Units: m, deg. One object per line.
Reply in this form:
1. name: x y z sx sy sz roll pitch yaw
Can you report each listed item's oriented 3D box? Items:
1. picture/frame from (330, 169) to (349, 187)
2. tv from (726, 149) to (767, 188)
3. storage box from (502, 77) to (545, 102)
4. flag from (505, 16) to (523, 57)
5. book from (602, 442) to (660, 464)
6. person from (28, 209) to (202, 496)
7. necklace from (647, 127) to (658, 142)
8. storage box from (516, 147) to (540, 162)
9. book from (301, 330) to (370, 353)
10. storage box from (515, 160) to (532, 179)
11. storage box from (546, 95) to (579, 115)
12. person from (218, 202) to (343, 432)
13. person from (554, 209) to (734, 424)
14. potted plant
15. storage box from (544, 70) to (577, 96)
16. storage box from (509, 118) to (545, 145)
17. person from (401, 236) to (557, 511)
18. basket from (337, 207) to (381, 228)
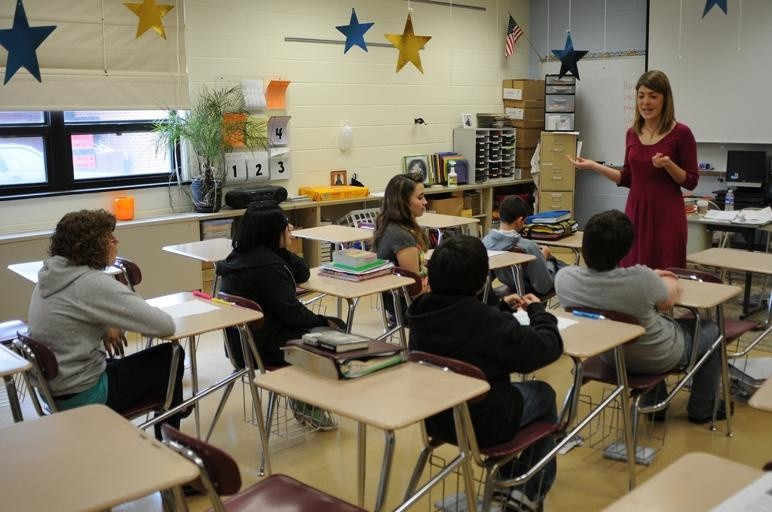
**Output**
1. picture/frame: -0.615 -1.031 6.862 0.201 0.205 0.046 -2 2 -39
2. tv: 4.511 -1.095 6.535 0.437 0.445 0.240 5 8 42
3. storage box: 2.209 -2.667 8.427 0.663 0.372 0.322 1 13 14
4. flag: 2.107 -3.598 8.544 0.214 0.635 0.555 7 16 39
5. book: 1.430 1.151 3.058 0.272 0.065 0.278 1 4 28
6. person: -1.442 0.294 2.652 0.717 1.039 0.369 -6 12 -14
7. necklace: 1.850 -0.843 3.639 0.022 0.082 0.079 -2 4 -34
8. storage box: 2.279 -1.597 8.393 0.258 0.259 0.264 5 9 43
9. book: -0.220 0.361 2.214 0.162 0.035 0.166 -2 7 -40
10. storage box: 2.201 -1.425 8.490 0.262 0.247 0.267 16 24 42
11. storage box: 2.697 -2.346 8.072 0.315 0.199 0.319 1 6 3
12. person: -0.669 0.166 3.234 0.672 0.953 0.513 -8 13 -21
13. person: 1.527 0.380 3.188 0.959 1.385 0.790 -20 17 -16
14. potted plant: -2.015 -1.255 6.265 1.288 1.397 1.286 2 7 -5
15. storage box: 2.678 -2.655 8.042 0.348 0.231 0.355 3 10 15
16. storage box: 2.312 -2.001 8.480 0.438 0.419 0.436 -7 12 -32
17. person: 0.504 0.632 2.434 0.707 1.496 0.478 -9 13 -25
18. basket: -0.294 -0.542 6.343 0.336 0.191 0.455 -14 22 -37
